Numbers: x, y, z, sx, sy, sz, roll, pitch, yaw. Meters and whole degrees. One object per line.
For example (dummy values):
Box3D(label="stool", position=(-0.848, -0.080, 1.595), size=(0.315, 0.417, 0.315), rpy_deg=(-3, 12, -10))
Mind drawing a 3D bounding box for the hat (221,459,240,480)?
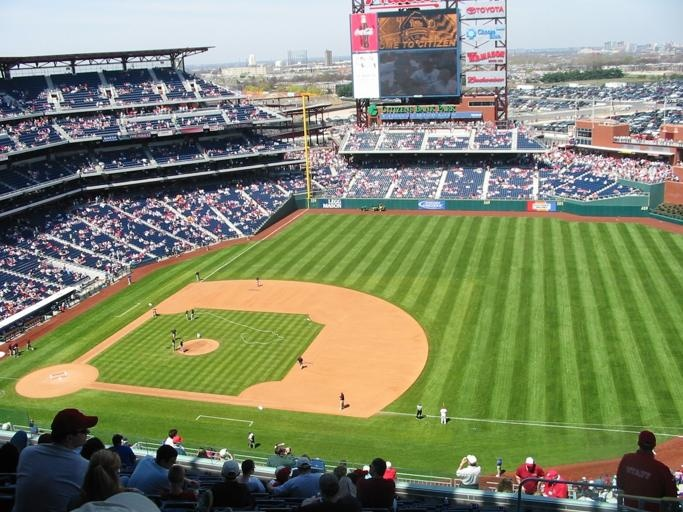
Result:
Box3D(label="hat", position=(-2.571, 4.972, 15.947), size=(0.448, 0.204, 0.485), rpy_deg=(2, 12, -5))

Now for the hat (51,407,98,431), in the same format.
Box3D(label="hat", position=(-5.475, 3.419, 14.382), size=(0.936, 0.276, 0.524), rpy_deg=(-2, 12, -26))
